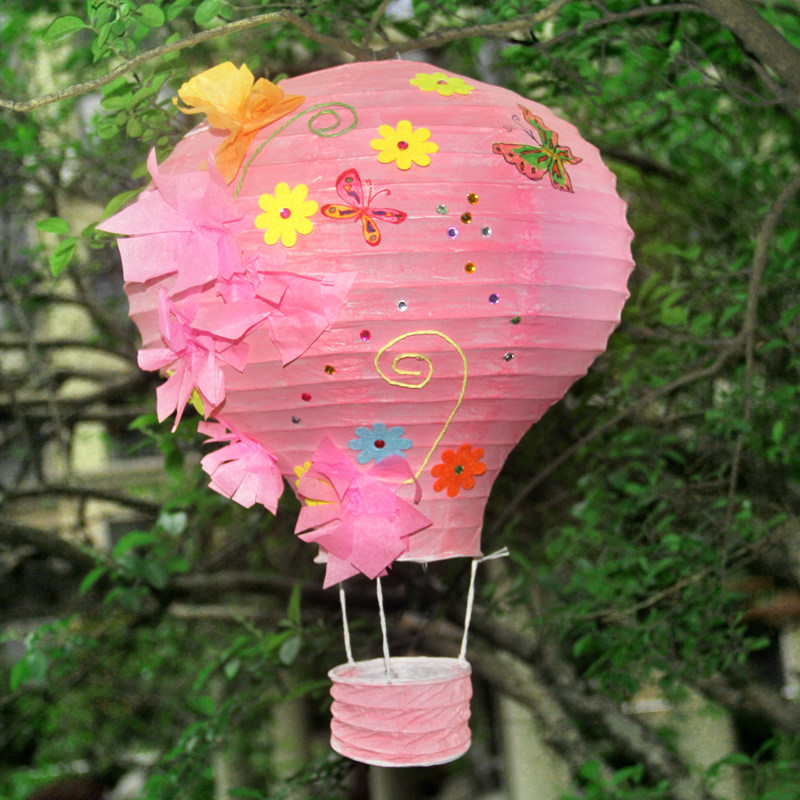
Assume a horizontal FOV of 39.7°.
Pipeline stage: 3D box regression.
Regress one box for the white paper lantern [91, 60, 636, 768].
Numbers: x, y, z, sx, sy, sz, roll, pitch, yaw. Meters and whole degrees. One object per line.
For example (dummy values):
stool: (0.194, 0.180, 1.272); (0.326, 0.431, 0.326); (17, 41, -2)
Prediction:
white paper lantern: (-0.059, -0.125, 1.657); (0.552, 0.755, 0.681); (22, 42, 37)
